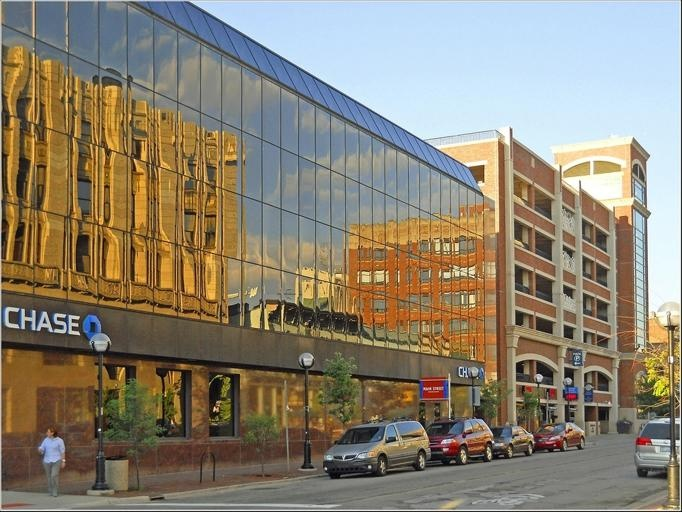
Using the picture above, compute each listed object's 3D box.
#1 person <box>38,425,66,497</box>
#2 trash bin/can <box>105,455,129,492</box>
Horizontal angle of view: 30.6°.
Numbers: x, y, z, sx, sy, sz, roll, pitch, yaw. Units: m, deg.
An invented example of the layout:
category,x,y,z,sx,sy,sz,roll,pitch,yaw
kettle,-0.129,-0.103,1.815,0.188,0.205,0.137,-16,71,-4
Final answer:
category,x,y,z,sx,sy,sz,roll,pitch,yaw
person,-10.888,7.704,46.950,0.860,2.560,0.910,-4,-5,12
trash bin/can,-8.738,8.462,48.870,1.085,1.365,1.166,0,-4,5
